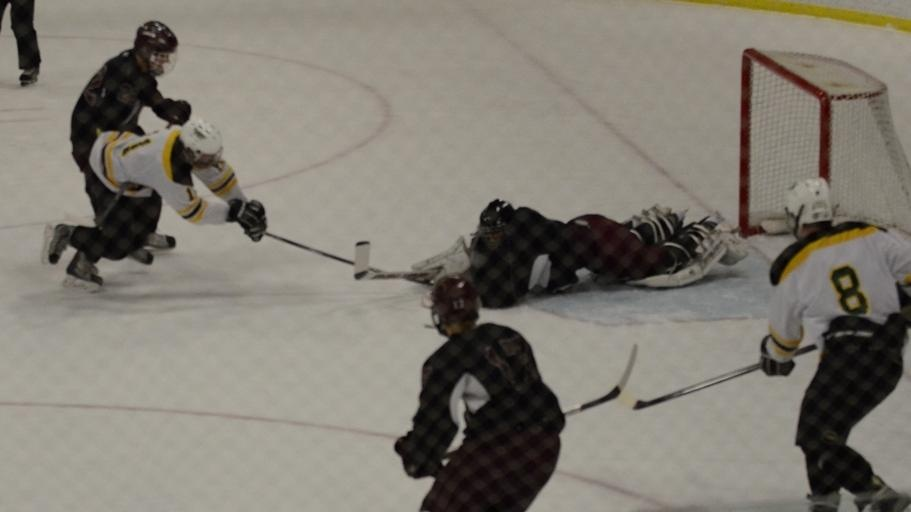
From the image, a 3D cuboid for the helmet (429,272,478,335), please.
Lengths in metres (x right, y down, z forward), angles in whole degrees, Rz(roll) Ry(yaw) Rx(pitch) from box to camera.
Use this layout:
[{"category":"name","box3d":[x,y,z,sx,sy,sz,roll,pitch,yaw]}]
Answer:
[{"category":"helmet","box3d":[-0.017,0.365,11.606,0.309,0.488,0.518,1,1,-5]}]

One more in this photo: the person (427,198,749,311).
[{"category":"person","box3d":[1.109,-0.043,13.152,1.931,1.044,0.653,6,45,1]}]

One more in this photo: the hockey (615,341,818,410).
[{"category":"hockey","box3d":[1.999,1.050,12.458,0.533,0.149,1.964,9,-17,-33]}]

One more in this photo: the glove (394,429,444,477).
[{"category":"glove","box3d":[-0.291,1.600,11.638,0.400,0.427,0.234,8,16,-1]}]
